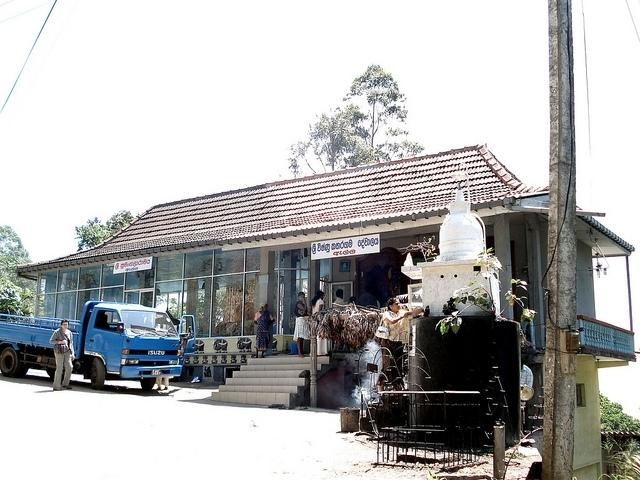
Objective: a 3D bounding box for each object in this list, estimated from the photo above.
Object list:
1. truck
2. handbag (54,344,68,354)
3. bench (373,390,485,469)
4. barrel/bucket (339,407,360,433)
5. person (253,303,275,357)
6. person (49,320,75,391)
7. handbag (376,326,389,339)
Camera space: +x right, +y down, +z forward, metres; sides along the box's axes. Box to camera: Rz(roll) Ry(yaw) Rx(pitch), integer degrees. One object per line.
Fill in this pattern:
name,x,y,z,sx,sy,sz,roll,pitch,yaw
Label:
truck,-7.502,3.474,19.042,5.725,2.461,2.890,-9,-14,31
handbag,-7.604,3.208,17.374,0.249,0.202,0.255,5,-12,-19
bench,1.543,3.168,10.144,2.597,1.187,1.917,-6,-15,32
barrel/bucket,0.620,3.819,12.411,0.431,0.453,0.436,1,-17,0
person,-1.897,2.968,19.905,0.626,1.803,0.562,4,11,-2
person,-7.704,3.415,17.555,0.683,2.061,1.366,7,-13,-22
handbag,1.416,2.097,13.311,0.285,0.266,0.079,12,-6,43
